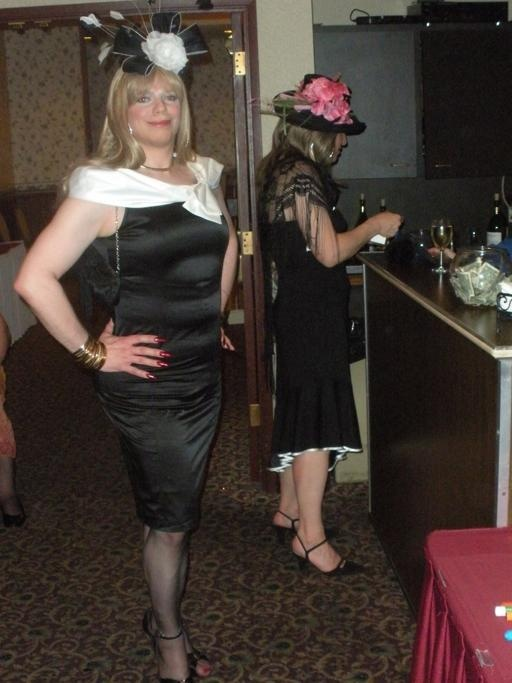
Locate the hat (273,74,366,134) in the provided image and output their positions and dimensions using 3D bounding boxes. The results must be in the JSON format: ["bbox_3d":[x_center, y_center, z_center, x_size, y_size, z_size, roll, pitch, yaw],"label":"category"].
[{"bbox_3d":[0.212,-0.818,2.042,0.303,0.225,0.253,-1,11,9],"label":"hat"}]

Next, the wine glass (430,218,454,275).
[{"bbox_3d":[0.596,-0.309,1.916,0.072,0.158,0.299,1,11,17],"label":"wine glass"}]

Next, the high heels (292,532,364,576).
[{"bbox_3d":[0.258,0.791,2.274,0.305,0.173,0.113,-2,15,2],"label":"high heels"}]

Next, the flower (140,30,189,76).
[{"bbox_3d":[-0.210,-0.696,1.464,0.116,0.094,0.042,-1,-30,-35],"label":"flower"}]

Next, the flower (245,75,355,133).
[{"bbox_3d":[0.168,-0.765,2.013,0.269,0.098,0.243,22,34,29],"label":"flower"}]

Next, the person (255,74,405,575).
[{"bbox_3d":[0.248,-0.028,2.152,0.472,1.817,0.367,-2,11,6],"label":"person"}]

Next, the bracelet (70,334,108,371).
[{"bbox_3d":[-0.378,0.031,1.380,0.077,0.073,0.061,2,47,1],"label":"bracelet"}]

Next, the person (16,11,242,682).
[{"bbox_3d":[-0.257,0.070,1.563,0.376,1.842,0.618,1,12,18],"label":"person"}]
